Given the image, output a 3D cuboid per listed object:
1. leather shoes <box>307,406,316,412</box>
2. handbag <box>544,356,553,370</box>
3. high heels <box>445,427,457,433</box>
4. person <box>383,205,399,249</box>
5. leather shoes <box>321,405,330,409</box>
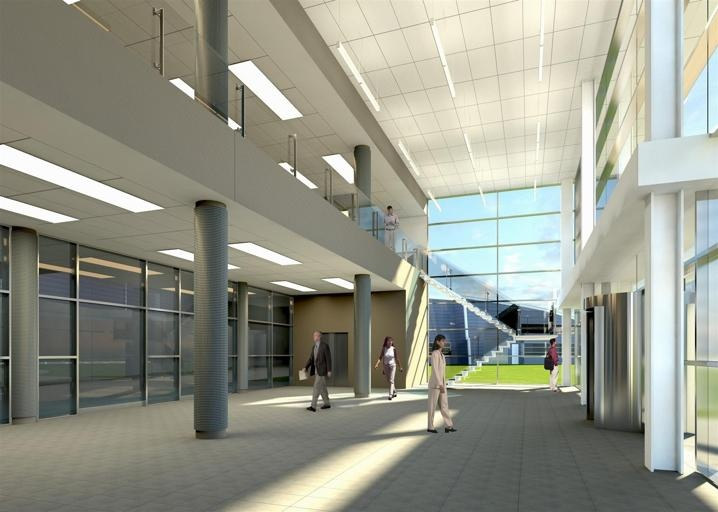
[{"bbox_3d":[-1.359,4.304,14.701,0.246,0.114,0.107,-1,-10,32],"label":"leather shoes"},{"bbox_3d":[7.919,4.426,21.666,0.366,0.537,0.314,-2,-11,20],"label":"handbag"},{"bbox_3d":[2.017,3.827,11.504,0.265,0.134,0.095,-3,-8,11],"label":"high heels"},{"bbox_3d":[1.256,-1.156,20.688,0.426,1.804,1.514,1,-11,8],"label":"person"},{"bbox_3d":[-0.992,4.415,15.338,0.263,0.124,0.103,1,-6,3],"label":"leather shoes"}]
